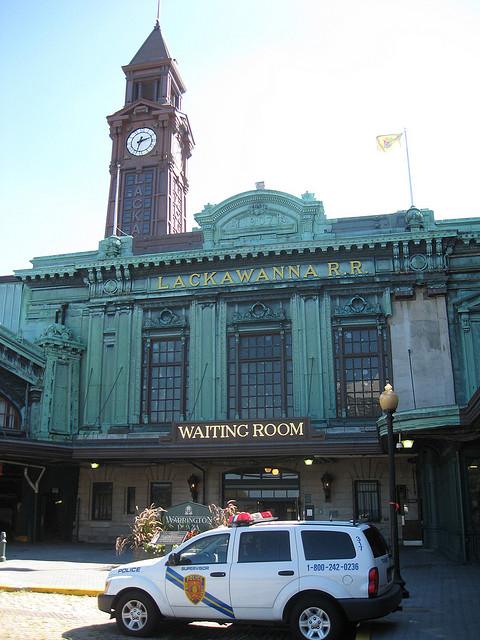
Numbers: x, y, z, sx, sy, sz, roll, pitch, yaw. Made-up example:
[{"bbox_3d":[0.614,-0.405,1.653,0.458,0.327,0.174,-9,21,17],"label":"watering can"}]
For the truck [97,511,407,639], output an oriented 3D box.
[{"bbox_3d":[0.241,3.926,9.788,4.436,1.730,1.945,-5,-32,14],"label":"truck"}]
